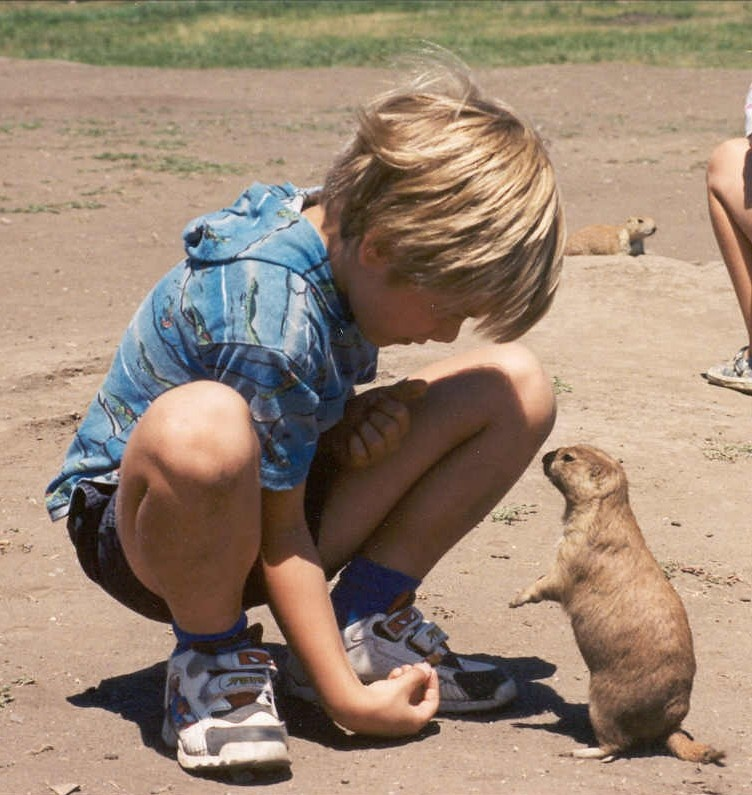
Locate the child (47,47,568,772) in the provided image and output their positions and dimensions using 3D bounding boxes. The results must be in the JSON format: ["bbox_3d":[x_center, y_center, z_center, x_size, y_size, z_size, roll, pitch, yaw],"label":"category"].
[{"bbox_3d":[-0.083,0.036,3.786,1.260,1.619,1.551,23,28,39],"label":"child"}]

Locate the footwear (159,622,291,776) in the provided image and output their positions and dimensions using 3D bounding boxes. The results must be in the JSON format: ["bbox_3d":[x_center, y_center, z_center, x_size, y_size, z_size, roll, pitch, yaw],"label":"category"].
[{"bbox_3d":[-0.345,0.678,3.501,0.260,0.294,0.462,0,8,-27],"label":"footwear"}]

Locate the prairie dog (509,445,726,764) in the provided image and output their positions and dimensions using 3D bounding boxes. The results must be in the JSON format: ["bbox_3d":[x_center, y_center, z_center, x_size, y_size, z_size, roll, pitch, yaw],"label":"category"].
[{"bbox_3d":[0.627,0.525,3.981,0.628,0.565,1.214,1,21,-3],"label":"prairie dog"}]
